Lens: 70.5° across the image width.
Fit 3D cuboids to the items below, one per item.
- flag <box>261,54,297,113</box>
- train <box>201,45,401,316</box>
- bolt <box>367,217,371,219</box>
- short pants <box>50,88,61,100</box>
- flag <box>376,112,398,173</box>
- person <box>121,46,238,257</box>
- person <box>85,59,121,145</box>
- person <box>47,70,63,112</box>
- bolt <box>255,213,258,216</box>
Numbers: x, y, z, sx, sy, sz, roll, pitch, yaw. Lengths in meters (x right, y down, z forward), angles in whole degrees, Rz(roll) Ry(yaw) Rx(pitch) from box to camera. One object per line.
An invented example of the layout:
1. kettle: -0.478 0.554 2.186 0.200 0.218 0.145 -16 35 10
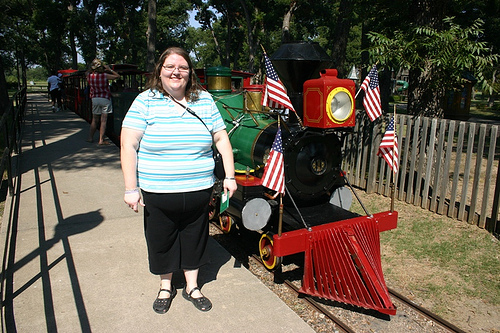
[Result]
1. flag: 0.327 -1.178 4.935 0.439 1.164 0.130 1 -20 -18
2. train: 0.771 -0.088 5.372 2.161 3.474 3.395 -3 13 -20
3. bolt: 1.670 0.727 5.000 0.050 0.015 0.029 3 12 5
4. short pants: -9.307 -3.431 16.920 0.366 0.557 0.722 -5 14 -27
5. flag: 2.127 -0.348 5.432 0.292 0.889 0.602 6 13 20
6. person: -0.811 -0.096 3.963 1.179 2.383 0.408 -2 12 -16
7. person: -4.106 -1.734 9.784 0.766 2.306 0.729 -4 13 -25
8. person: -9.328 -3.580 17.001 0.543 1.915 1.295 -5 14 -28
9. bolt: 0.081 0.673 4.954 0.023 0.038 0.001 -4 13 -24
